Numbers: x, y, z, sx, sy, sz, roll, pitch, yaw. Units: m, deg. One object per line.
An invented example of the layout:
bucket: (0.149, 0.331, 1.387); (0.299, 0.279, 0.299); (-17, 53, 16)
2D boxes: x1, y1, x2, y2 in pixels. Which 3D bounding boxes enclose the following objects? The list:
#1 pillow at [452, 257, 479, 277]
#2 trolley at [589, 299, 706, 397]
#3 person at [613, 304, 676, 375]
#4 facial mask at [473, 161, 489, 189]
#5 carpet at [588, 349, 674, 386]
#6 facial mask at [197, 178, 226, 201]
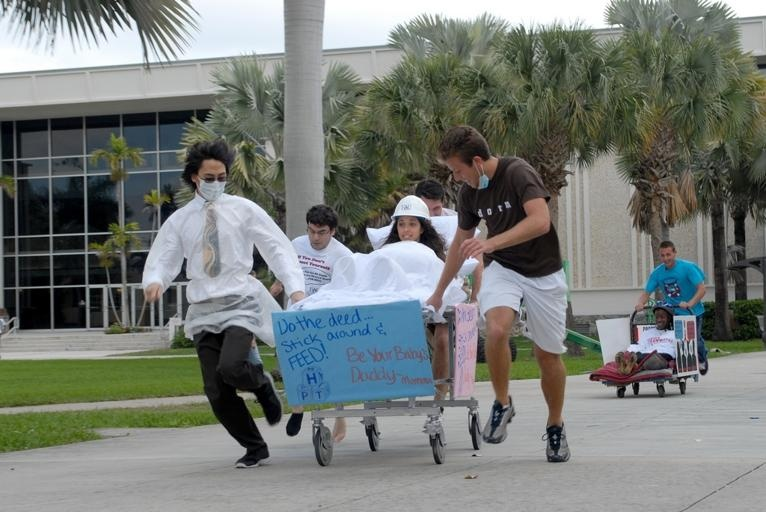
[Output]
pillow: (1.000, 0.161, 12.462); (0.197, 0.076, 0.268); (7, 44, 42)
trolley: (4.170, 1.484, 16.656); (1.157, 1.128, 1.840); (0, 5, 34)
person: (4.190, 1.401, 16.398); (0.669, 1.212, 1.762); (1, 1, 42)
facial mask: (1.084, -0.918, 11.682); (0.166, 0.257, 0.223); (-2, -3, -5)
carpet: (3.934, 1.832, 16.258); (0.997, 0.597, 1.981); (-1, 1, 31)
facial mask: (-2.000, -0.773, 12.110); (0.279, 0.200, 0.263); (-1, 2, -15)
